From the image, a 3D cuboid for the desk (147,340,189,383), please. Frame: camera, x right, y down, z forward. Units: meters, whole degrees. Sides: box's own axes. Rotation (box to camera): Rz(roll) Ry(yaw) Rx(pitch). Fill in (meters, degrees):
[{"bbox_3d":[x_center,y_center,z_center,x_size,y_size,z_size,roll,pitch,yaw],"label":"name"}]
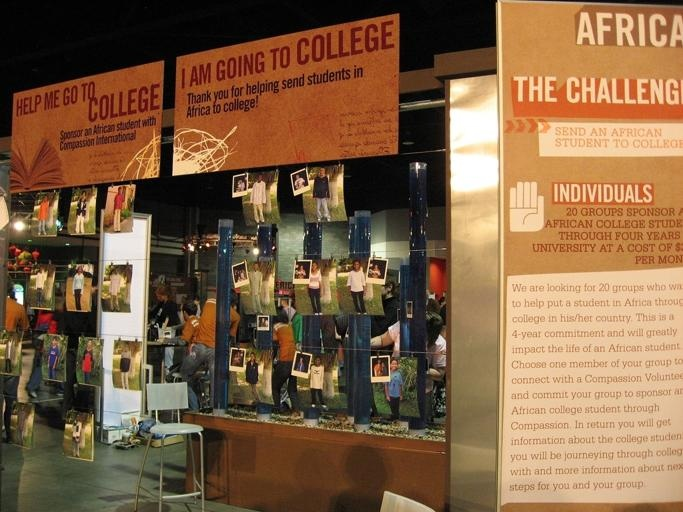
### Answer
[{"bbox_3d":[-1.722,1.105,7.634,0.323,0.437,0.471,-24,-23,27],"label":"desk"}]
